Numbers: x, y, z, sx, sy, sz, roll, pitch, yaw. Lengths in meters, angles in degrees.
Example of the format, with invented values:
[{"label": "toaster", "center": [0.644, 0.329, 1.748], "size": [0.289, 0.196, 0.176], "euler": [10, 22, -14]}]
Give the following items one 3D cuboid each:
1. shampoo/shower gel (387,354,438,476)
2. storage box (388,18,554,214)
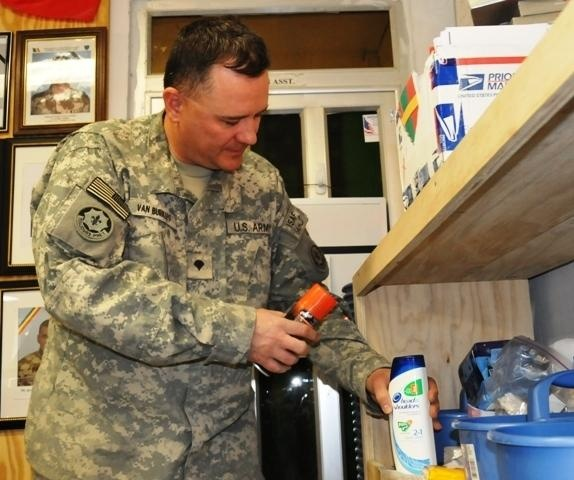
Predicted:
[{"label": "shampoo/shower gel", "center": [0.235, 0.323, 0.921], "size": [0.066, 0.218, 0.122], "euler": [3, -2, -12]}, {"label": "storage box", "center": [0.302, -0.260, 0.931], "size": [0.109, 0.361, 0.264], "euler": [12, 6, -1]}]
